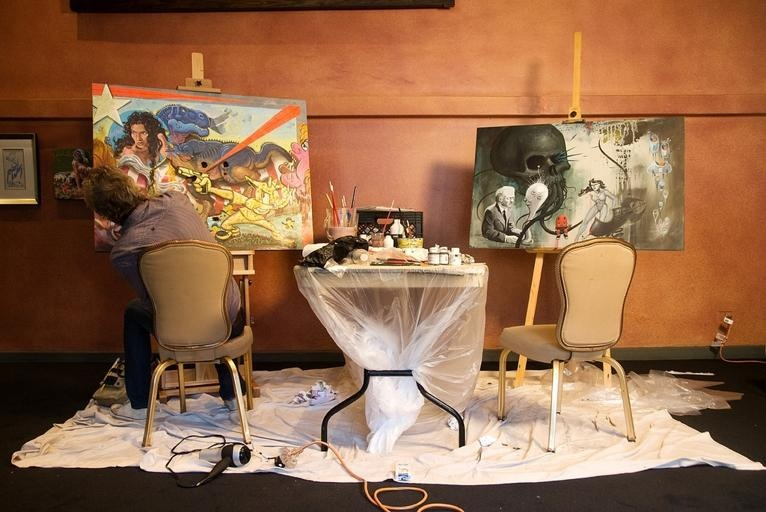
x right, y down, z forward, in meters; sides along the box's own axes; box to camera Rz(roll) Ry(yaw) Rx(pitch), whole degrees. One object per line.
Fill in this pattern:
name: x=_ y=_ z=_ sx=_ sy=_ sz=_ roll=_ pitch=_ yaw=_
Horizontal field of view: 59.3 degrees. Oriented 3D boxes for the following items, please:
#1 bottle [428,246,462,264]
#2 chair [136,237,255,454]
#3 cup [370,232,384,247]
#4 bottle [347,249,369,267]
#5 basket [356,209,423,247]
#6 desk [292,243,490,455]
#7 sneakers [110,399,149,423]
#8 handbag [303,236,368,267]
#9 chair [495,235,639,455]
bottle: x=0.399 y=-0.002 z=4.598 sx=0.159 sy=0.086 sz=0.154 roll=0 pitch=1 yaw=0
chair: x=-1.261 y=0.562 z=4.479 sx=0.714 sy=1.373 sz=0.338 roll=-1 pitch=12 yaw=-3
cup: x=-0.038 y=-0.128 z=4.963 sx=0.099 sy=0.103 sz=0.096 roll=0 pitch=-5 yaw=0
bottle: x=-0.164 y=0.007 z=4.523 sx=0.128 sy=0.121 sz=0.119 roll=26 pitch=-7 yaw=-23
basket: x=0.039 y=-0.166 z=5.140 sx=0.449 sy=0.246 sz=0.315 roll=0 pitch=0 yaw=0
desk: x=0.065 y=0.579 z=4.996 sx=1.270 sy=1.313 sz=1.395 roll=0 pitch=2 yaw=1
sneakers: x=-1.792 y=1.106 z=4.806 sx=0.313 sy=0.126 sz=0.120 roll=10 pitch=-2 yaw=5
handbag: x=-0.327 y=-0.044 z=4.506 sx=0.215 sy=0.083 sz=0.361 roll=5 pitch=33 yaw=46
chair: x=1.245 y=0.554 z=4.553 sx=0.842 sy=1.388 sz=0.518 roll=-3 pitch=12 yaw=-8
